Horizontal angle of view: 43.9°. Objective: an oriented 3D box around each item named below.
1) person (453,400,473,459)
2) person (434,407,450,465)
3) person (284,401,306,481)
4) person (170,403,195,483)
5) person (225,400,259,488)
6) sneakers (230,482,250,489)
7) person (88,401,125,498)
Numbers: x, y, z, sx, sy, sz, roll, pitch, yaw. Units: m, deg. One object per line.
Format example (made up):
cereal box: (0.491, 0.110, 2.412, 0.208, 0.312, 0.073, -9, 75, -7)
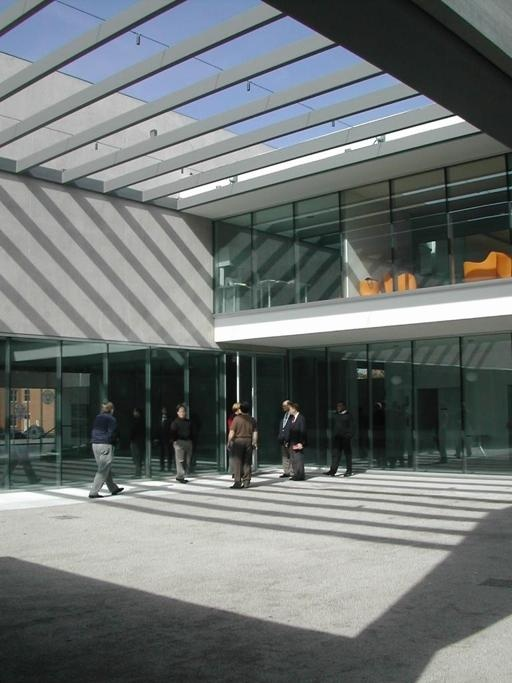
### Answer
person: (4.759, 2.066, 14.764, 0.388, 1.307, 0.092, -4, -4, 44)
person: (4.378, 2.242, 15.036, 0.309, 1.351, 0.084, -4, -3, 43)
person: (0.861, 2.236, 13.963, 0.398, 1.699, 1.037, -2, -3, 2)
person: (-1.543, 2.190, 13.319, 0.369, 1.682, 0.789, -1, -3, -3)
person: (-0.281, 2.093, 12.696, 0.508, 1.698, 0.726, -2, -3, 3)
sneakers: (-0.315, 2.893, 12.635, 0.413, 0.166, 0.139, 10, -17, -27)
person: (-2.709, 1.980, 11.525, 0.545, 1.716, 1.342, -1, -3, -12)
